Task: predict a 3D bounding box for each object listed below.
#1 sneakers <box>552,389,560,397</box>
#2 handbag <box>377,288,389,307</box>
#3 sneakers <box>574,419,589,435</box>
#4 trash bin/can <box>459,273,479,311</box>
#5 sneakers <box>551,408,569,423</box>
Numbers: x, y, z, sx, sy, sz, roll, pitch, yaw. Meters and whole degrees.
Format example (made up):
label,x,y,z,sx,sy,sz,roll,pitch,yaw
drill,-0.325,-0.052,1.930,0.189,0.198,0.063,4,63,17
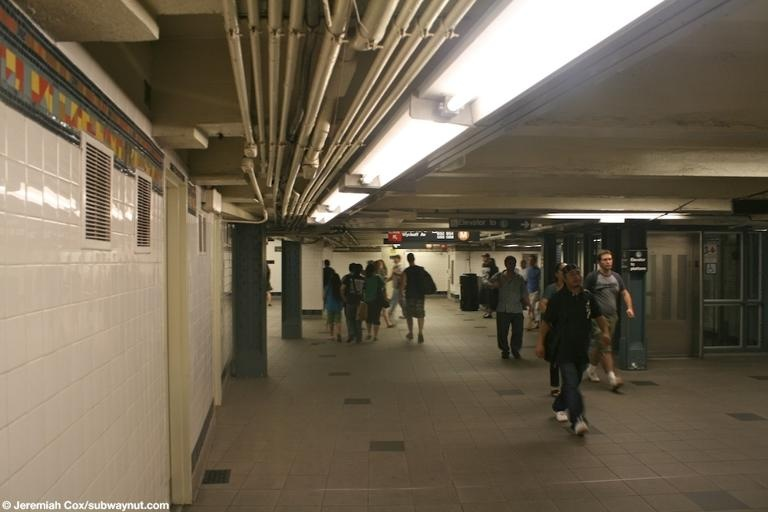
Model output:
label,x,y,z,sx,sy,sz,roll,pitch,yaw
sneakers,2.364,1.868,7.309,0.093,0.099,0.251,-2,-12,-9
handbag,-0.014,0.976,12.311,0.291,0.397,0.743,-9,12,2
sneakers,2.153,1.878,5.831,0.085,0.109,0.237,-2,-5,2
trash bin/can,3.249,1.377,20.107,0.677,1.364,0.501,-1,3,-2
sneakers,2.142,1.912,6.433,0.136,0.099,0.230,-8,-9,10
